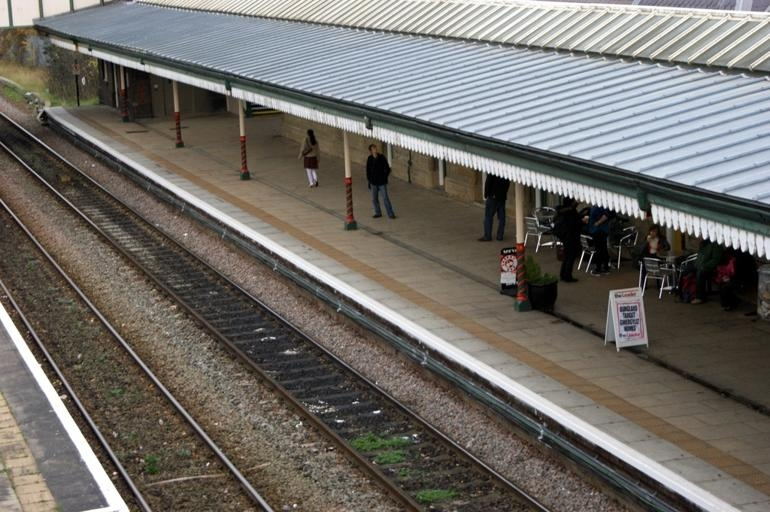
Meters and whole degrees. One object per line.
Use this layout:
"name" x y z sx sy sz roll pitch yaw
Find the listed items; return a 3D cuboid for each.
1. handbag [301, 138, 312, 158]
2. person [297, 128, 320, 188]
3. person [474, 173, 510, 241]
"handbag" -2.360 -3.358 28.212 0.318 0.574 0.275 3 13 8
"person" -2.317 -3.096 28.579 0.579 1.804 1.079 1 13 -2
"person" 2.785 -1.305 23.378 0.649 1.801 1.518 2 13 6
